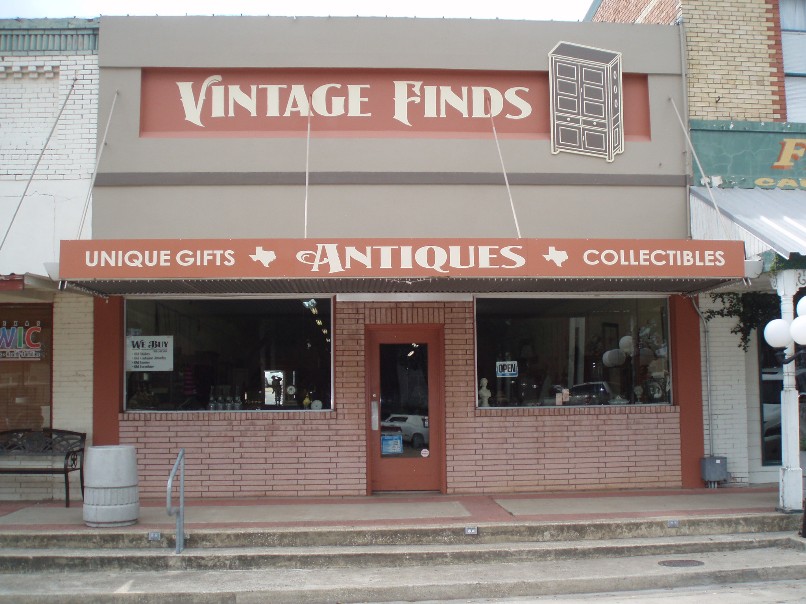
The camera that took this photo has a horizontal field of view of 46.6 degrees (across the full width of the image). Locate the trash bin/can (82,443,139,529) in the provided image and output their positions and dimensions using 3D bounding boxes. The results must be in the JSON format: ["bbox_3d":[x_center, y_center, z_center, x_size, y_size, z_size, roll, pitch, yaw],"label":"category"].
[{"bbox_3d":[-4.317,2.734,13.891,0.763,1.181,0.339,3,-12,-18],"label":"trash bin/can"}]
